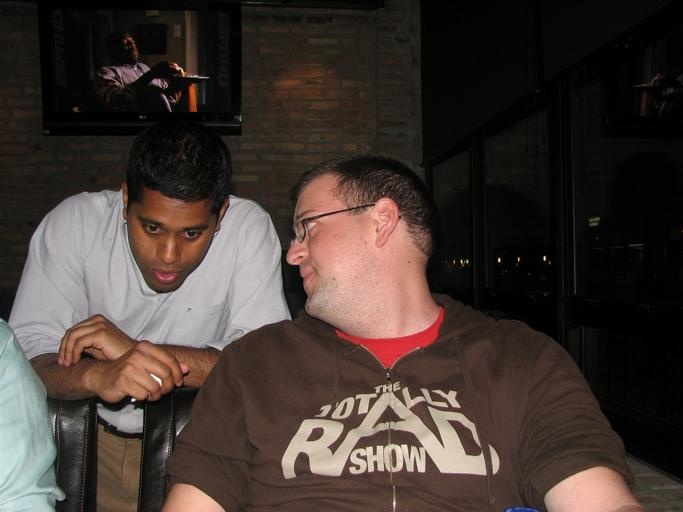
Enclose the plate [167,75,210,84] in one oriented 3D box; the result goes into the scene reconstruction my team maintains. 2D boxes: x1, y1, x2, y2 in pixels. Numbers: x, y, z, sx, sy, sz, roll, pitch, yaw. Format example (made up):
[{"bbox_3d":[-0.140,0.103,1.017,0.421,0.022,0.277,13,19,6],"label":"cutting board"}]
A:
[{"bbox_3d":[-1.346,-1.552,5.259,0.185,0.032,0.130,-3,4,-37],"label":"plate"}]
